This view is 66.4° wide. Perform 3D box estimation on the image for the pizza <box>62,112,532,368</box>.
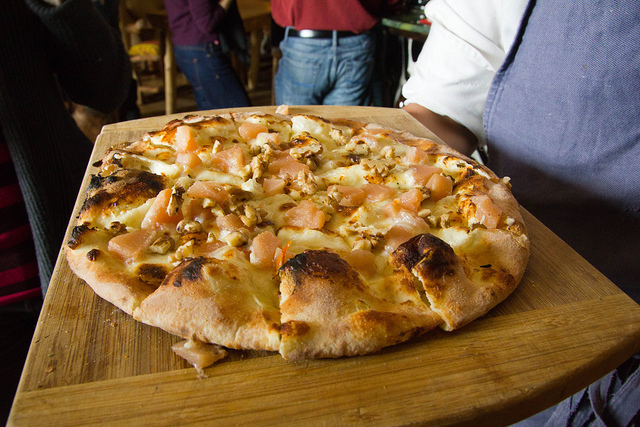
[{"bbox_3d":[-0.081,0.030,2.069,1.892,0.302,1.280,0,48,3],"label":"pizza"}]
